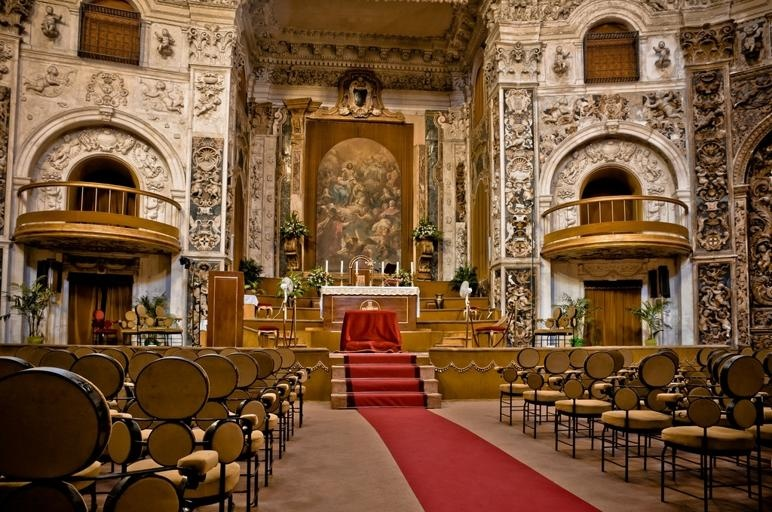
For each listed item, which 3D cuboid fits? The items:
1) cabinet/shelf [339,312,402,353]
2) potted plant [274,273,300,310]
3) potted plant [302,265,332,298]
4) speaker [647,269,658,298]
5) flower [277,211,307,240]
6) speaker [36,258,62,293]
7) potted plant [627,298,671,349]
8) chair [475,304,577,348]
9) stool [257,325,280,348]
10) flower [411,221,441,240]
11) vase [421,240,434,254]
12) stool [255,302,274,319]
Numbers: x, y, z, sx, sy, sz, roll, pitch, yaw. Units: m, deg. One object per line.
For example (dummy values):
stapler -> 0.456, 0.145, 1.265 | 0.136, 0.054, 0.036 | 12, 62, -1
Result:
cabinet/shelf -> -0.395, 1.867, 20.857 | 1.408, 0.943, 1.018 | 1, -11, -5
potted plant -> -2.850, 0.958, 25.007 | 0.934, 0.928, 0.844 | 10, -18, -40
potted plant -> -2.220, 0.759, 26.233 | 0.945, 0.942, 0.947 | -1, -1, -23
speaker -> 7.300, 0.756, 22.937 | 0.201, 0.755, 0.450 | 1, 12, -1
flower -> -3.090, -1.026, 27.597 | 0.909, 0.930, 0.909 | -3, 0, -22
speaker -> -9.005, 0.499, 22.320 | 0.738, 0.943, 0.799 | 2, -1, -32
potted plant -> 7.298, 1.865, 22.983 | 1.368, 1.315, 1.075 | 2, -9, 2
chair -> 3.728, 1.899, 22.319 | 2.576, 1.320, 1.925 | 2, 12, 2
stool -> -3.006, 2.050, 21.251 | 0.471, 0.456, 0.468 | -3, -5, 16
flower -> 1.374, -0.892, 28.100 | 0.686, 0.463, 0.709 | 0, 0, 11
vase -> 1.362, -0.309, 27.935 | 0.438, 0.401, 0.433 | 0, -2, -7
stool -> -3.478, 1.566, 23.989 | 0.387, 0.320, 0.463 | -2, -4, 6
